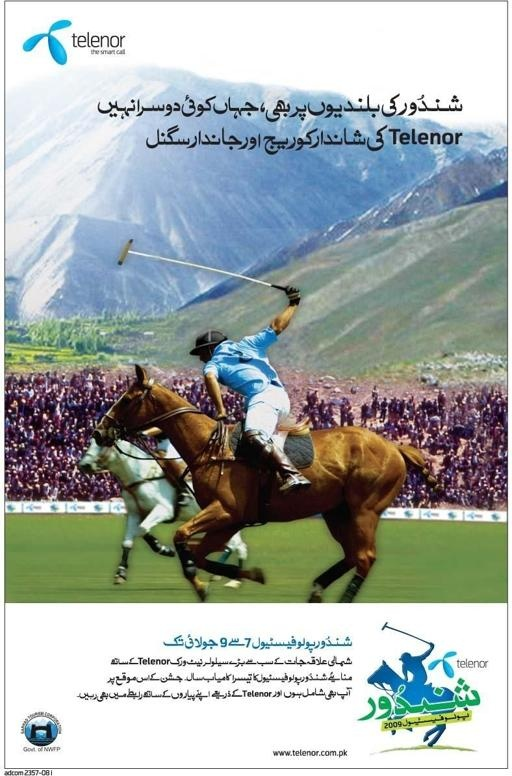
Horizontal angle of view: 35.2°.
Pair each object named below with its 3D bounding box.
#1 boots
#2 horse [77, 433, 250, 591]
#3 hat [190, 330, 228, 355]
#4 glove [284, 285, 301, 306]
[{"bbox_3d":[0.161,0.588,6.830,0.408,0.246,0.592,-26,58,-27],"label":"boots"},{"bbox_3d":[-1.024,1.387,9.130,0.698,1.544,2.451,-18,-24,35],"label":"horse"},{"bbox_3d":[-0.455,-0.441,7.679,0.324,0.146,0.236,-9,-7,2],"label":"hat"},{"bbox_3d":[0.325,-0.873,7.458,0.139,0.067,0.196,-10,37,-12],"label":"glove"}]
